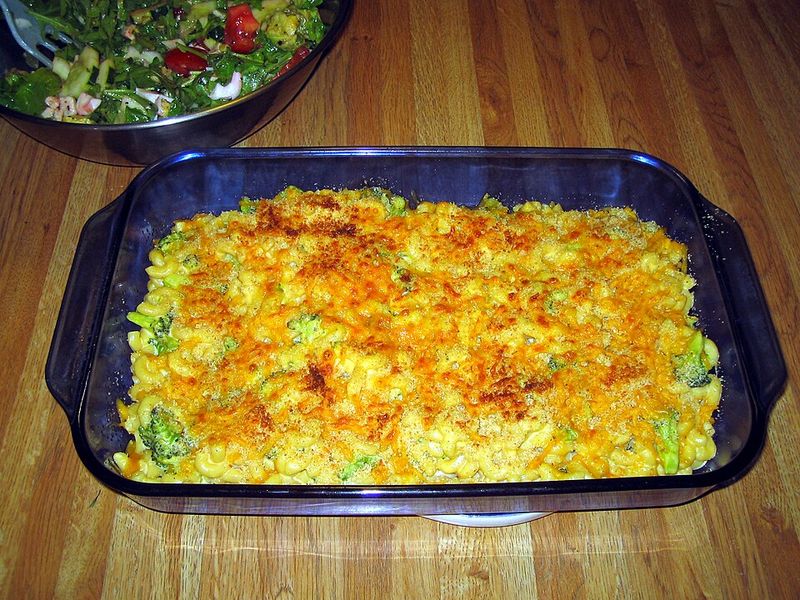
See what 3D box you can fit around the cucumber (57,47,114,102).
[{"bbox_3d":[-1.398,-1.017,3.703,0.196,0.168,0.257,7,-64,17],"label":"cucumber"}]
